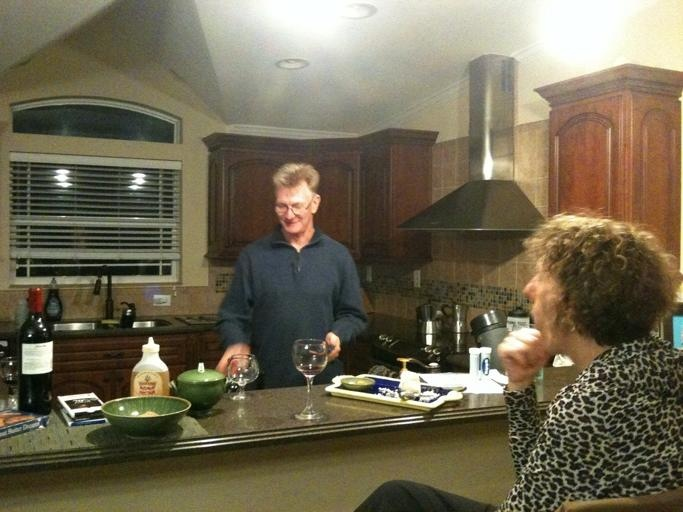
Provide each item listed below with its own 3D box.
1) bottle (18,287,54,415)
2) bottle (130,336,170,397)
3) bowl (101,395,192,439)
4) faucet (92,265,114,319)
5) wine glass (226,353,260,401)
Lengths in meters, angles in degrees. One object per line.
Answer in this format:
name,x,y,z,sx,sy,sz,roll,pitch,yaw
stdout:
bottle,-1.040,0.326,1.949,0.102,0.443,0.191,1,1,-28
bottle,-0.671,0.395,2.021,0.129,0.216,0.178,1,1,-12
bowl,-0.632,0.520,1.844,0.276,0.105,0.175,1,1,-11
faucet,-1.947,0.294,4.691,0.155,0.427,0.284,1,1,-23
wine glass,-0.360,0.448,2.097,0.130,0.145,0.129,-7,-15,31
